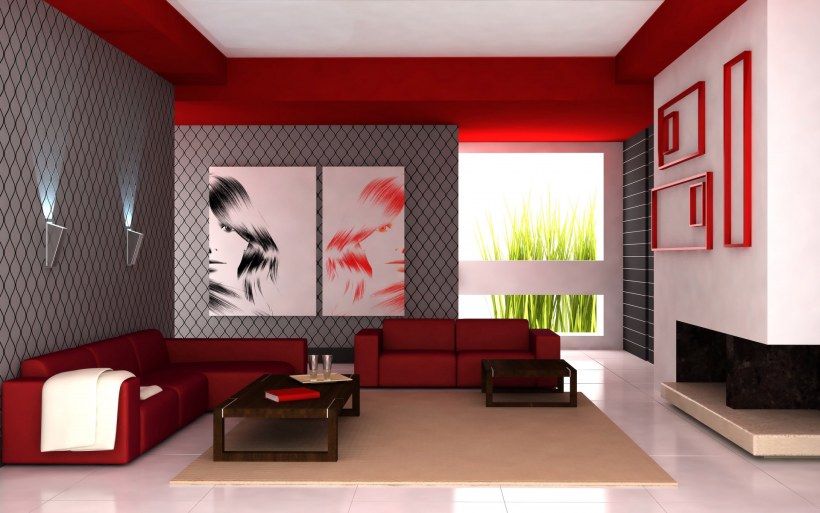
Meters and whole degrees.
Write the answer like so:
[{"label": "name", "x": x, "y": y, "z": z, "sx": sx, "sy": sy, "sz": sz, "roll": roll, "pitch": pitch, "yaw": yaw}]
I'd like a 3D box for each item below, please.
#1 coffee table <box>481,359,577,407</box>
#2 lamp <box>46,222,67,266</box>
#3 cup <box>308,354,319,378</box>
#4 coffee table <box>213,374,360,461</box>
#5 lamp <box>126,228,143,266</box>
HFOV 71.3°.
[{"label": "coffee table", "x": 1.280, "y": 1.298, "z": 6.212, "sx": 0.675, "sy": 0.261, "sz": 0.598, "roll": 0, "pitch": -2, "yaw": 1}, {"label": "lamp", "x": -3.328, "y": -0.122, "z": 5.386, "sx": 0.140, "sy": 0.402, "sz": 0.422, "roll": 2, "pitch": 0, "yaw": -14}, {"label": "cup", "x": -0.936, "y": 1.058, "z": 5.556, "sx": 0.089, "sy": 0.254, "sz": 0.139, "roll": -2, "pitch": 10, "yaw": -13}, {"label": "coffee table", "x": -1.111, "y": 1.434, "z": 5.369, "sx": 1.119, "sy": 0.534, "sz": 1.072, "roll": 1, "pitch": 10, "yaw": 4}, {"label": "lamp", "x": -3.045, "y": -0.117, "z": 6.322, "sx": 0.133, "sy": 0.387, "sz": 0.419, "roll": 0, "pitch": 1, "yaw": -9}]
